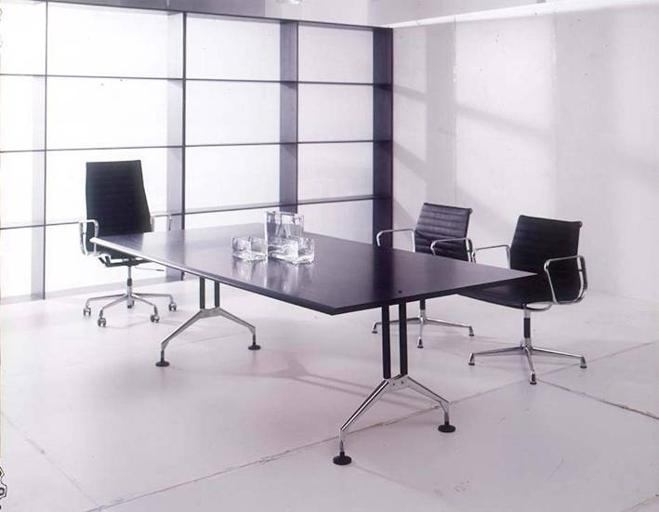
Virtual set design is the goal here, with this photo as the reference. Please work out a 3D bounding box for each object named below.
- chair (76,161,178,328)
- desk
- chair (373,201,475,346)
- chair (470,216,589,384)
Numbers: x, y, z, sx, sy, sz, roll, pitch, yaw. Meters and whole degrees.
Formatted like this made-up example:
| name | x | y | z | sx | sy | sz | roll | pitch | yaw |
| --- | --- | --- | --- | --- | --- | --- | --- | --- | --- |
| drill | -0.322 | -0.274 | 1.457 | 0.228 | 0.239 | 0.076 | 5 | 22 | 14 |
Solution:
| name | x | y | z | sx | sy | sz | roll | pitch | yaw |
| --- | --- | --- | --- | --- | --- | --- | --- | --- | --- |
| chair | -1.882 | -0.118 | 5.569 | 0.807 | 1.413 | 0.833 | 12 | 16 | 40 |
| desk | -0.157 | 0.377 | 3.882 | 1.382 | 0.976 | 2.470 | -11 | 16 | -44 |
| chair | 0.795 | 0.133 | 5.014 | 0.734 | 1.059 | 0.735 | -8 | 15 | -25 |
| chair | 1.428 | 0.273 | 4.398 | 0.719 | 1.070 | 0.755 | -11 | 13 | -40 |
